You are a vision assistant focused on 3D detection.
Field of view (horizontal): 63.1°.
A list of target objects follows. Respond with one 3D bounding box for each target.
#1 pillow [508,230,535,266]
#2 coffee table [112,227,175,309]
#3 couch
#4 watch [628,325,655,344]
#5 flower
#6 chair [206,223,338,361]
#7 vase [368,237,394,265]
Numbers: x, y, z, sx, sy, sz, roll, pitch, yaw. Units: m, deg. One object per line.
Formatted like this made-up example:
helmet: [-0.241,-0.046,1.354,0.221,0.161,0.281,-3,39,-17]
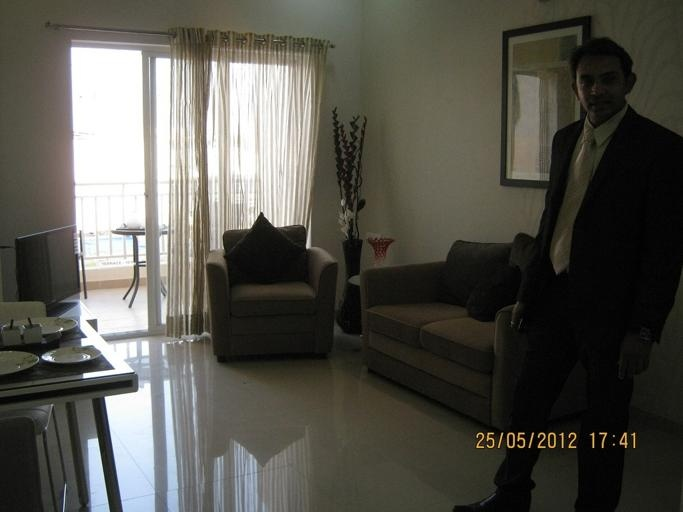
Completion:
pillow: [0.871,-0.024,2.652,0.040,0.150,0.139,14,8,-17]
coffee table: [-2.464,0.121,6.525,0.633,0.817,0.719,-15,3,2]
couch: [0.902,0.607,4.205,1.113,1.056,1.535,2,6,-32]
watch: [1.206,0.314,2.215,0.053,0.030,0.077,10,1,-9]
flower: [0.081,-0.815,5.604,0.367,1.351,0.804,0,11,1]
chair: [-0.640,0.346,5.022,1.045,1.058,1.065,0,9,-8]
vase: [0.353,-0.041,4.988,0.223,0.193,0.245,1,-2,-9]
